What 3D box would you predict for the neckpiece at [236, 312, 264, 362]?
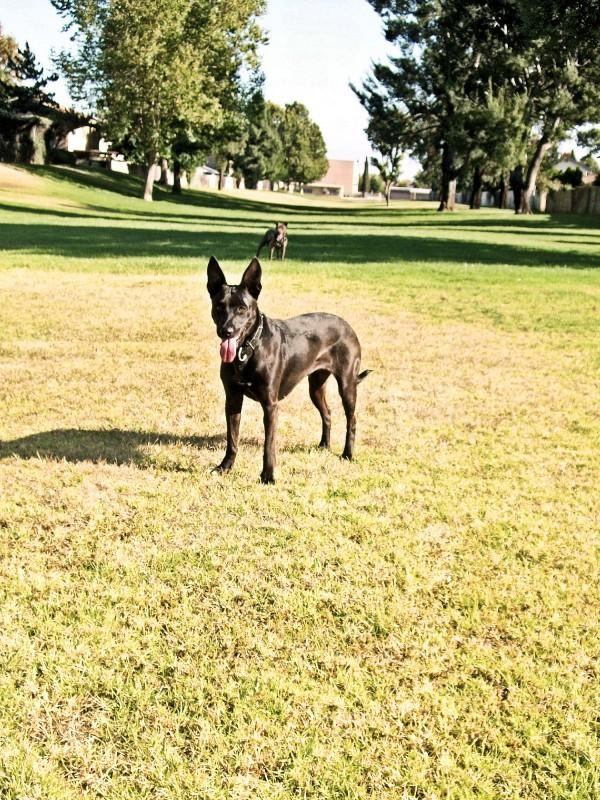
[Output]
[{"bbox_3d":[-0.355,-0.409,5.162,0.065,0.258,0.181,19,3,-9],"label":"neckpiece"}]
